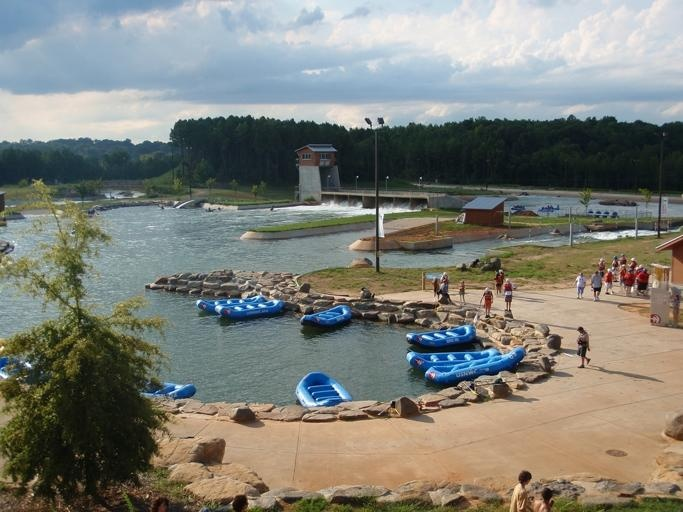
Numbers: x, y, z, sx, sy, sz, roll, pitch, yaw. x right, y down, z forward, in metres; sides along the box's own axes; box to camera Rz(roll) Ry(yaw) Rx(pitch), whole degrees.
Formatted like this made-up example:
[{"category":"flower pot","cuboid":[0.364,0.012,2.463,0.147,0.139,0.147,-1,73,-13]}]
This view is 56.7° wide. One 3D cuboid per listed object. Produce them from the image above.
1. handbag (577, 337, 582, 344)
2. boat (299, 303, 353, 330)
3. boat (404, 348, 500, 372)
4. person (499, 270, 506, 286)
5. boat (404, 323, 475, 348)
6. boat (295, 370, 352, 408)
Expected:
[{"category":"handbag","cuboid":[10.154,3.617,26.978,0.103,0.350,0.294,-3,7,-9]},{"category":"boat","cuboid":[-0.736,3.587,36.473,1.716,0.908,3.521,2,7,30]},{"category":"boat","cuboid":[5.040,4.831,29.848,3.685,0.615,1.533,-3,5,-16]},{"category":"person","cuboid":[10.488,1.487,41.449,0.431,0.992,0.660,-1,6,-34]},{"category":"boat","cuboid":[5.405,4.408,32.757,3.124,0.758,1.359,-7,12,-8]},{"category":"boat","cuboid":[-0.851,5.536,25.924,1.975,0.795,2.953,-2,6,-7]}]
